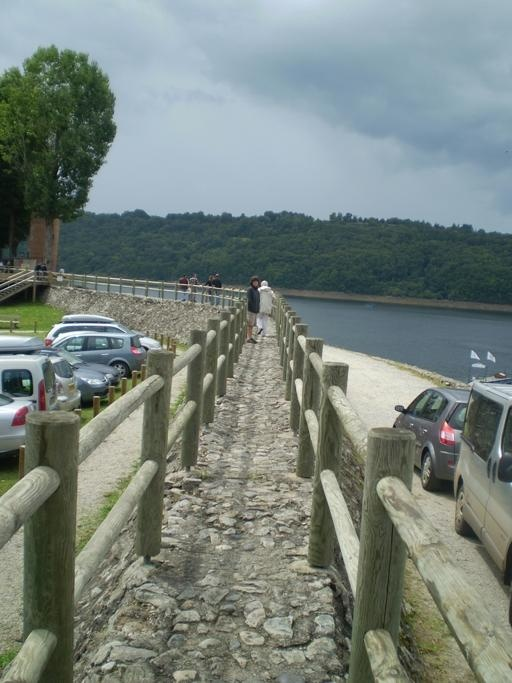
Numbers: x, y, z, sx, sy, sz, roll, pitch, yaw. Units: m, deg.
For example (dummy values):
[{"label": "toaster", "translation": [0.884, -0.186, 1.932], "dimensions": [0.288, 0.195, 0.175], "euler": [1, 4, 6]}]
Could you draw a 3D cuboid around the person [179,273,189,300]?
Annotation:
[{"label": "person", "translation": [-4.793, -3.560, 35.723], "dimensions": [0.673, 1.664, 2.992], "euler": [2, 4, -9]}]
